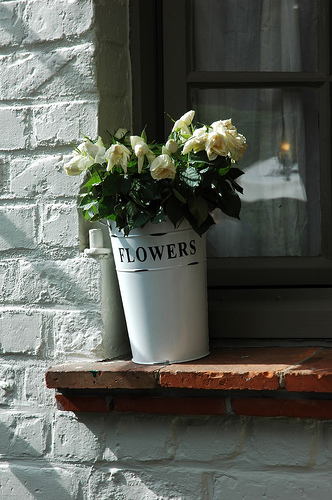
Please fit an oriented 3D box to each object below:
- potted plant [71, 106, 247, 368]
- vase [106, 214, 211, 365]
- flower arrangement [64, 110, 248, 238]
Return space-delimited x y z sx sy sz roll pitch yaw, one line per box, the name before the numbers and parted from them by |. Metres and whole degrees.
potted plant | -0.026 -0.021 1.245 0.376 0.518 0.237 -1 1 8
vase | -0.012 0.085 1.318 0.259 0.306 0.215 -6 -2 34
flower arrangement | -0.029 -0.154 1.243 0.382 0.256 0.240 -1 1 8
